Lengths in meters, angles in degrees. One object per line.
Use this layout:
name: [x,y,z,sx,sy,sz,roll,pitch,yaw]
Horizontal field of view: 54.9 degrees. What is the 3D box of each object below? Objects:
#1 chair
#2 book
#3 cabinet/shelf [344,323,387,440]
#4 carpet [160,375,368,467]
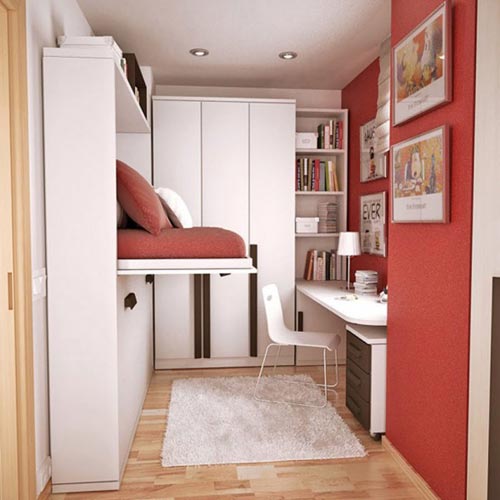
chair: [0.354,0.602,3.279,0.680,1.103,0.563,-1,-2,16]
book: [0.633,-0.474,4.292,0.471,1.501,0.449,0,5,6]
cabinet/shelf: [0.701,0.770,2.876,0.200,0.588,0.402,0,5,-1]
carpet: [0.023,1.027,3.122,1.132,0.050,1.251,-1,6,-4]
